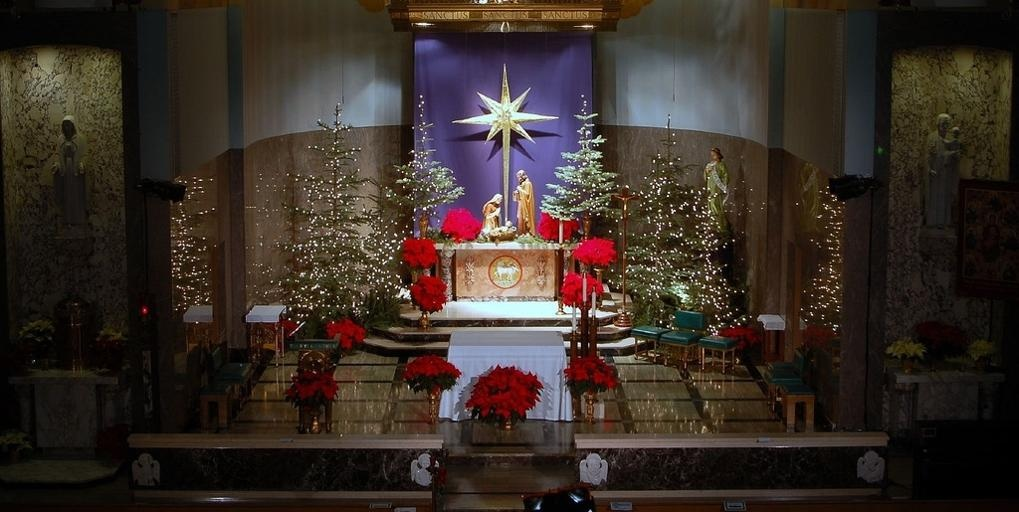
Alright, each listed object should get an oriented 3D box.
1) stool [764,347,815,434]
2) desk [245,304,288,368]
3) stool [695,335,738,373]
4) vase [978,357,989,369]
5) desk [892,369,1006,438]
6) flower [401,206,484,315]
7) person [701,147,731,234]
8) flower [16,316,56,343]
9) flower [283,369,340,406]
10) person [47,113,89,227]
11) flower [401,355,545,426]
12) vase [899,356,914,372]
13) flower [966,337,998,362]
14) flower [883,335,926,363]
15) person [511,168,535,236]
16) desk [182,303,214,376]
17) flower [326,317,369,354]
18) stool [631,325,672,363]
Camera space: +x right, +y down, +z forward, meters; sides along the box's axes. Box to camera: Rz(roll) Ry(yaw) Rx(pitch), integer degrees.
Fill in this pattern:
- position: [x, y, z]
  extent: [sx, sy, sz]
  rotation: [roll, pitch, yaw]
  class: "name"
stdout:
- position: [4.447, 2.181, 15.261]
  extent: [0.478, 0.606, 1.283]
  rotation: [0, 7, 7]
  class: "stool"
- position: [-4.233, 1.343, 16.876]
  extent: [0.994, 1.188, 0.908]
  rotation: [0, 4, -2]
  class: "desk"
- position: [3.638, 1.715, 16.948]
  extent: [0.639, 0.623, 0.773]
  rotation: [0, -3, 13]
  class: "stool"
- position: [7.152, 1.616, 14.572]
  extent: [0.184, 0.158, 0.096]
  rotation: [4, -11, 6]
  class: "vase"
- position: [6.527, 2.142, 14.593]
  extent: [1.780, 1.037, 0.888]
  rotation: [0, 0, 2]
  class: "desk"
- position: [-1.398, 0.135, 18.029]
  extent: [0.962, 2.079, 1.463]
  rotation: [-1, -4, 31]
  class: "flower"
- position: [3.738, -1.180, 17.446]
  extent: [0.424, 1.481, 0.270]
  rotation: [0, -4, 11]
  class: "person"
- position: [-7.215, 1.130, 14.783]
  extent: [0.439, 0.306, 0.407]
  rotation: [-3, 3, 7]
  class: "flower"
- position: [-3.049, 2.015, 14.916]
  extent: [0.673, 0.396, 0.625]
  rotation: [0, 2, -8]
  class: "flower"
- position: [-6.655, -1.270, 14.681]
  extent: [0.498, 1.613, 0.241]
  rotation: [2, -4, -12]
  class: "person"
- position: [-0.630, 1.981, 14.777]
  extent: [1.850, 0.762, 1.016]
  rotation: [8, 35, 10]
  class: "flower"
- position: [6.017, 1.648, 14.596]
  extent: [0.203, 0.223, 0.079]
  rotation: [1, -4, 2]
  class: "vase"
- position: [7.099, 1.432, 14.580]
  extent: [0.402, 0.329, 0.095]
  rotation: [1, -4, -7]
  class: "flower"
- position: [5.999, 1.414, 14.610]
  extent: [0.416, 0.252, 0.398]
  rotation: [-1, 6, -17]
  class: "flower"
- position: [0.310, -0.993, 18.662]
  extent: [0.483, 1.213, 0.347]
  rotation: [2, -4, -21]
  class: "person"
- position: [-4.948, 1.358, 15.284]
  extent: [0.388, 0.906, 1.122]
  rotation: [-1, 8, -5]
  class: "desk"
- position: [-2.815, 1.383, 16.658]
  extent: [0.651, 0.468, 0.605]
  rotation: [1, 4, -5]
  class: "flower"
- position: [2.536, 1.561, 17.158]
  extent: [0.660, 0.606, 0.647]
  rotation: [1, -1, 42]
  class: "stool"
